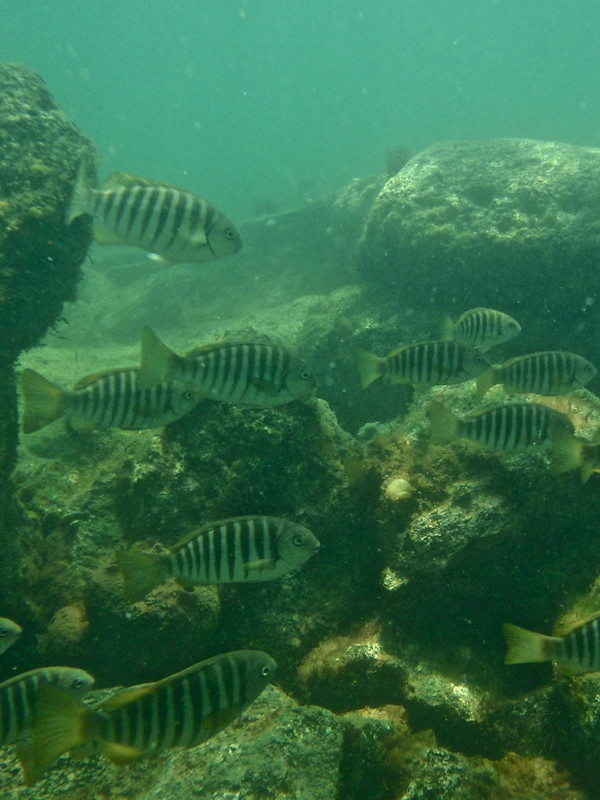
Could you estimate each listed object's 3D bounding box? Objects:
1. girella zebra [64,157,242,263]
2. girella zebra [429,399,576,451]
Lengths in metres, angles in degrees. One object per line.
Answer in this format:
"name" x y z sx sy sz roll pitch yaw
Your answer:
"girella zebra" -1.131 -1.378 6.802 1.430 0.739 0.417 11 -18 -29
"girella zebra" 1.715 0.249 7.538 1.195 0.518 0.243 0 29 -2
